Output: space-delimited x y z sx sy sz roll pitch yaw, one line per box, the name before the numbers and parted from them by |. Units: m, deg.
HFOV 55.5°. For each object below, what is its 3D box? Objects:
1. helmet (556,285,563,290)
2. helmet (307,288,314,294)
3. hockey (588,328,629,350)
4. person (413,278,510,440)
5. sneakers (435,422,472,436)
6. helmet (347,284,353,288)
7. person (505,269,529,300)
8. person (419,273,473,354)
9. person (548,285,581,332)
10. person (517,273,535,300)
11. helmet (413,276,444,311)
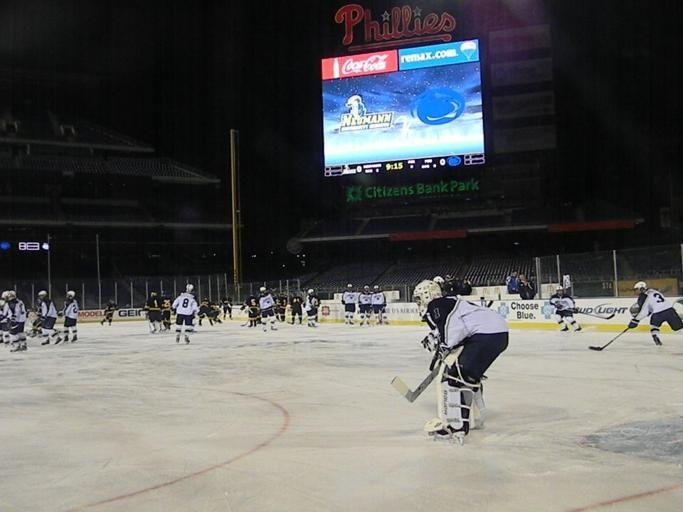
helmet | 6.887 1.009 20.457 0.214 0.195 0.289 0 3 16
helmet | -1.340 1.567 28.331 0.272 0.167 0.339 -1 1 10
hockey | 7.317 2.281 17.725 1.442 0.265 0.122 -18 -29 -6
person | 1.448 1.221 7.778 1.053 1.909 0.559 -3 -4 4
sneakers | 1.336 2.044 7.690 0.399 0.187 0.150 3 -8 10
helmet | 0.378 1.413 30.791 0.284 0.156 0.414 0 -1 7
person | 7.270 1.207 26.906 0.602 1.488 0.451 -20 5 -18
person | 1.446 0.660 8.292 0.427 1.142 0.802 12 1 -23
person | 7.091 1.658 20.532 0.726 1.426 1.239 -5 -5 27
person | 6.622 1.108 23.190 0.538 0.906 0.702 -5 -5 17
helmet | 1.048 0.459 8.024 0.389 0.401 0.335 -4 -4 19
